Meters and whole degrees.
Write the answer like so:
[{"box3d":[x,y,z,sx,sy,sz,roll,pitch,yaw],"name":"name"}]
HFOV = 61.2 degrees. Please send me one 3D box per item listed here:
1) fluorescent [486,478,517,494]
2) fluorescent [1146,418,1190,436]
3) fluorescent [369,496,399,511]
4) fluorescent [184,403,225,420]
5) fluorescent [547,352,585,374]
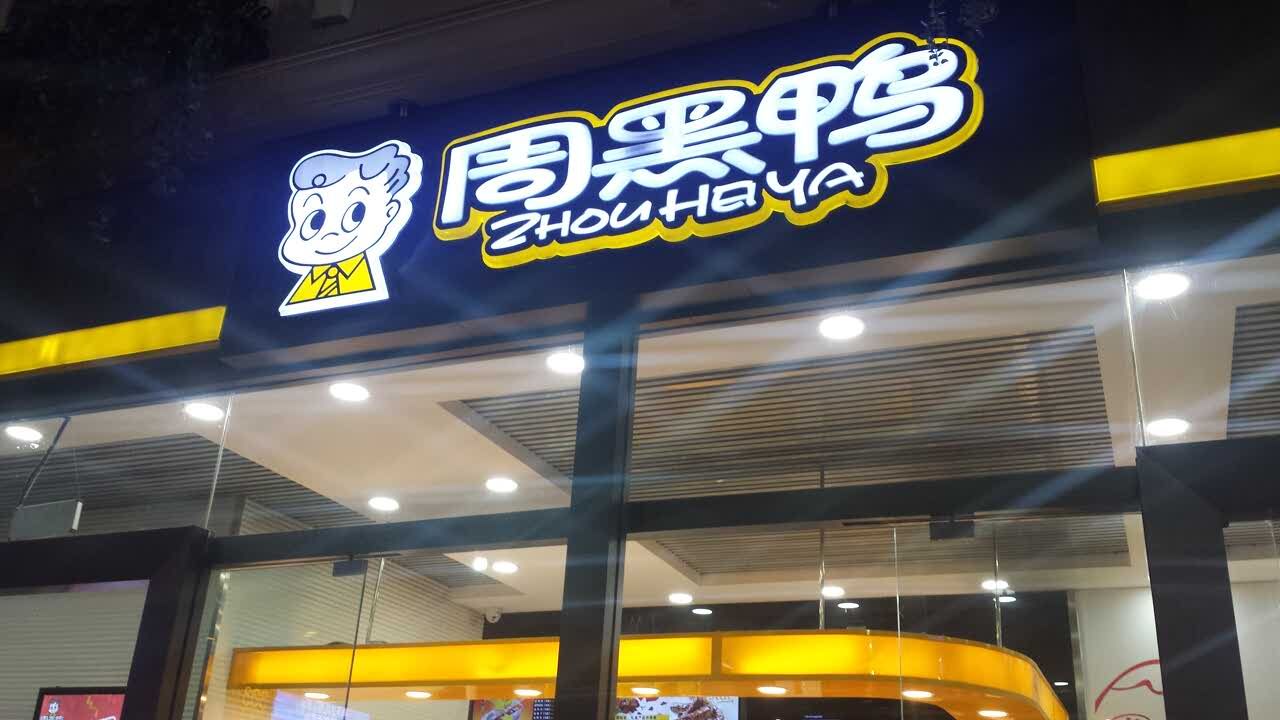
[{"box3d":[-0.618,0.558,4.821,0.094,0.095,0.015,-4,-59,16],"name":"fluorescent"},{"box3d":[2.044,0.262,4.209,0.153,0.088,0.006,-7,-31,17],"name":"fluorescent"},{"box3d":[-1.181,0.661,4.975,0.089,0.018,0.089,14,7,40],"name":"fluorescent"},{"box3d":[-2.123,0.247,5.261,0.124,0.023,0.108,8,-62,5],"name":"fluorescent"},{"box3d":[-0.333,0.009,4.830,0.129,0.111,0.025,-11,-10,12],"name":"fluorescent"}]
